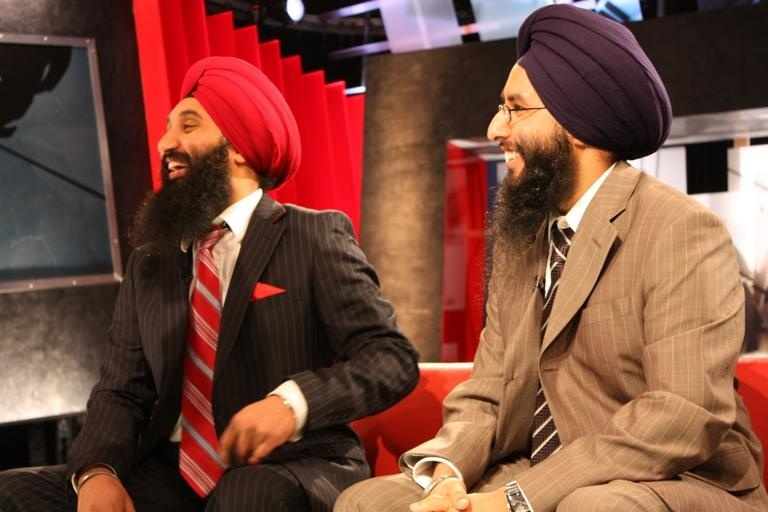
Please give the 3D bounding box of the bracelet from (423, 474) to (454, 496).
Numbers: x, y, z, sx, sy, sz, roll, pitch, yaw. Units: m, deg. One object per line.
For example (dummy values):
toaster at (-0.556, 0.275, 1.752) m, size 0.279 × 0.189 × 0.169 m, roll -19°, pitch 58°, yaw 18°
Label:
bracelet at (0.189, 0.776, 2.462) m, size 0.100 × 0.056 × 0.036 m, roll -2°, pitch 12°, yaw -15°
